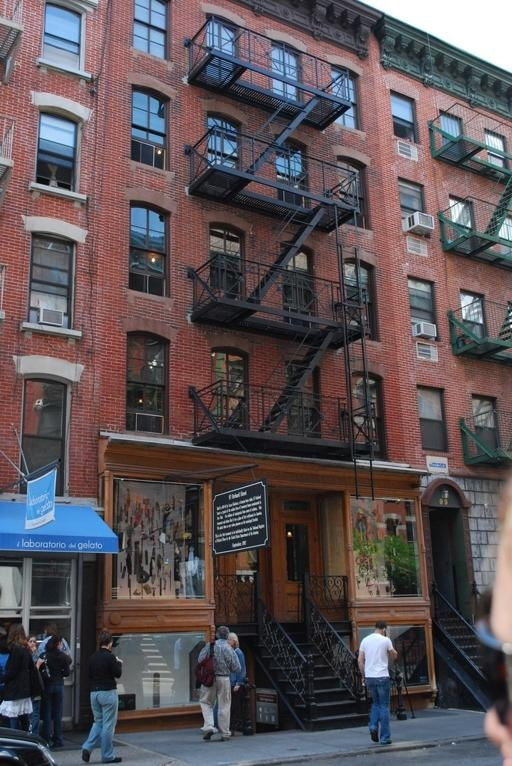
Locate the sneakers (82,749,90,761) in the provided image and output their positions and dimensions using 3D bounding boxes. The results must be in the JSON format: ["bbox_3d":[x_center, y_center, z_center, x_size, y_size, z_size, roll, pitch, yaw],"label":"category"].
[{"bbox_3d":[-2.262,4.961,10.185,0.091,0.240,0.097,0,12,-3],"label":"sneakers"}]

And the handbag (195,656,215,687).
[{"bbox_3d":[-0.845,4.770,12.658,0.334,0.480,0.229,-5,-13,17],"label":"handbag"}]

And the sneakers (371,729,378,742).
[{"bbox_3d":[1.872,5.602,12.234,0.073,0.210,0.104,-2,25,15],"label":"sneakers"}]

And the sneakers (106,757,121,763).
[{"bbox_3d":[-1.915,5.062,10.341,0.213,0.086,0.075,4,-17,-14],"label":"sneakers"}]

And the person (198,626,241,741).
[{"bbox_3d":[-0.630,4.986,12.763,0.683,1.752,0.560,-1,-12,-2],"label":"person"}]

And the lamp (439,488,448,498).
[{"bbox_3d":[5.009,2.961,20.651,0.227,0.312,0.237,0,-11,7],"label":"lamp"}]

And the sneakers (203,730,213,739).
[{"bbox_3d":[-0.792,5.824,12.685,0.127,0.162,0.238,3,-47,-5],"label":"sneakers"}]

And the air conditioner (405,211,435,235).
[{"bbox_3d":[4.887,-4.718,22.964,1.029,0.599,0.513,6,-14,-33],"label":"air conditioner"}]

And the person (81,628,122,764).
[{"bbox_3d":[-2.119,4.343,10.606,0.518,1.687,0.717,0,-12,-10],"label":"person"}]

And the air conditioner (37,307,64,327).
[{"bbox_3d":[-4.020,-1.282,15.222,0.276,0.397,0.599,-13,-16,43],"label":"air conditioner"}]
